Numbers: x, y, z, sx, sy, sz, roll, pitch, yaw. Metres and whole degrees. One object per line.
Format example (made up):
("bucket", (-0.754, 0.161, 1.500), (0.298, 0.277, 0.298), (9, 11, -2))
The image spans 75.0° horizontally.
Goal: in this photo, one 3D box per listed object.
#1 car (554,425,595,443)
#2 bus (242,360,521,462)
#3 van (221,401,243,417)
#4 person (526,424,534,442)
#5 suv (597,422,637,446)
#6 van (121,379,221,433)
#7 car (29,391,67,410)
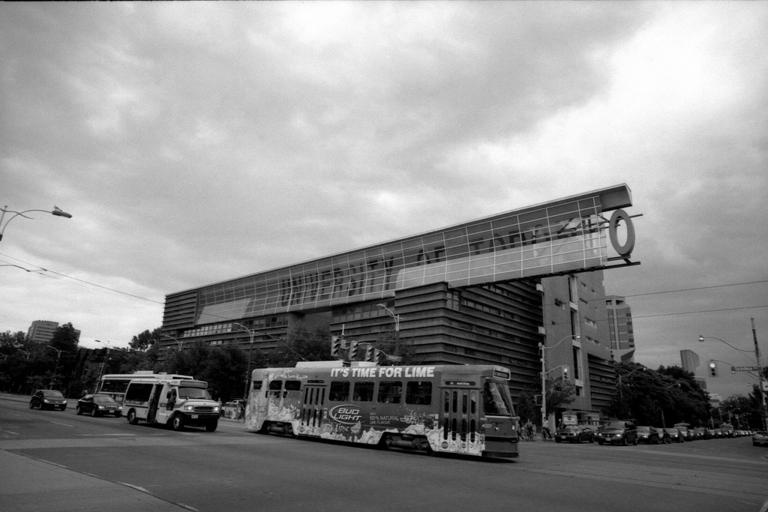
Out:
("car", (18.063, 16.855, 47.553), (2.443, 1.675, 4.741), (-11, -25, 36))
("bus", (-1.325, 8.342, 28.355), (17.367, 4.588, 2.567), (-9, -26, 32))
("van", (-17.202, 17.948, 57.628), (2.469, 1.563, 3.795), (6, -13, -29))
("person", (15.031, 18.082, 51.258), (1.029, 1.371, 0.454), (13, -14, -27))
("suv", (20.452, 15.499, 43.890), (2.229, 2.074, 3.970), (-10, -24, 33))
("van", (-13.757, 9.543, 32.557), (8.533, 3.157, 3.349), (-12, -27, 38))
("car", (-27.632, 11.918, 41.327), (2.409, 1.569, 2.006), (17, -24, -31))
